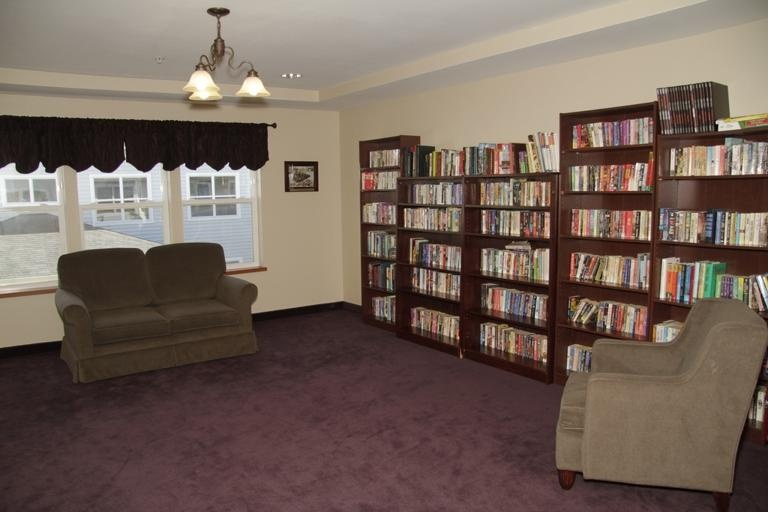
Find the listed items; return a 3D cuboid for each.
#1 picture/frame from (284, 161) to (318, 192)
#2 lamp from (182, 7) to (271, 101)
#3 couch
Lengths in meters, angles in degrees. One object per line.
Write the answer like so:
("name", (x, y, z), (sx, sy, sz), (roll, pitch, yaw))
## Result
("picture/frame", (-1.273, -1.195, 7.611), (0.481, 0.402, 0.049), (-3, 5, -31))
("lamp", (-1.471, -1.896, 4.727), (0.478, 0.744, 0.845), (0, 2, 30))
("couch", (-2.675, 0.569, 5.915), (1.885, 1.282, 1.181), (-9, 12, -33))
